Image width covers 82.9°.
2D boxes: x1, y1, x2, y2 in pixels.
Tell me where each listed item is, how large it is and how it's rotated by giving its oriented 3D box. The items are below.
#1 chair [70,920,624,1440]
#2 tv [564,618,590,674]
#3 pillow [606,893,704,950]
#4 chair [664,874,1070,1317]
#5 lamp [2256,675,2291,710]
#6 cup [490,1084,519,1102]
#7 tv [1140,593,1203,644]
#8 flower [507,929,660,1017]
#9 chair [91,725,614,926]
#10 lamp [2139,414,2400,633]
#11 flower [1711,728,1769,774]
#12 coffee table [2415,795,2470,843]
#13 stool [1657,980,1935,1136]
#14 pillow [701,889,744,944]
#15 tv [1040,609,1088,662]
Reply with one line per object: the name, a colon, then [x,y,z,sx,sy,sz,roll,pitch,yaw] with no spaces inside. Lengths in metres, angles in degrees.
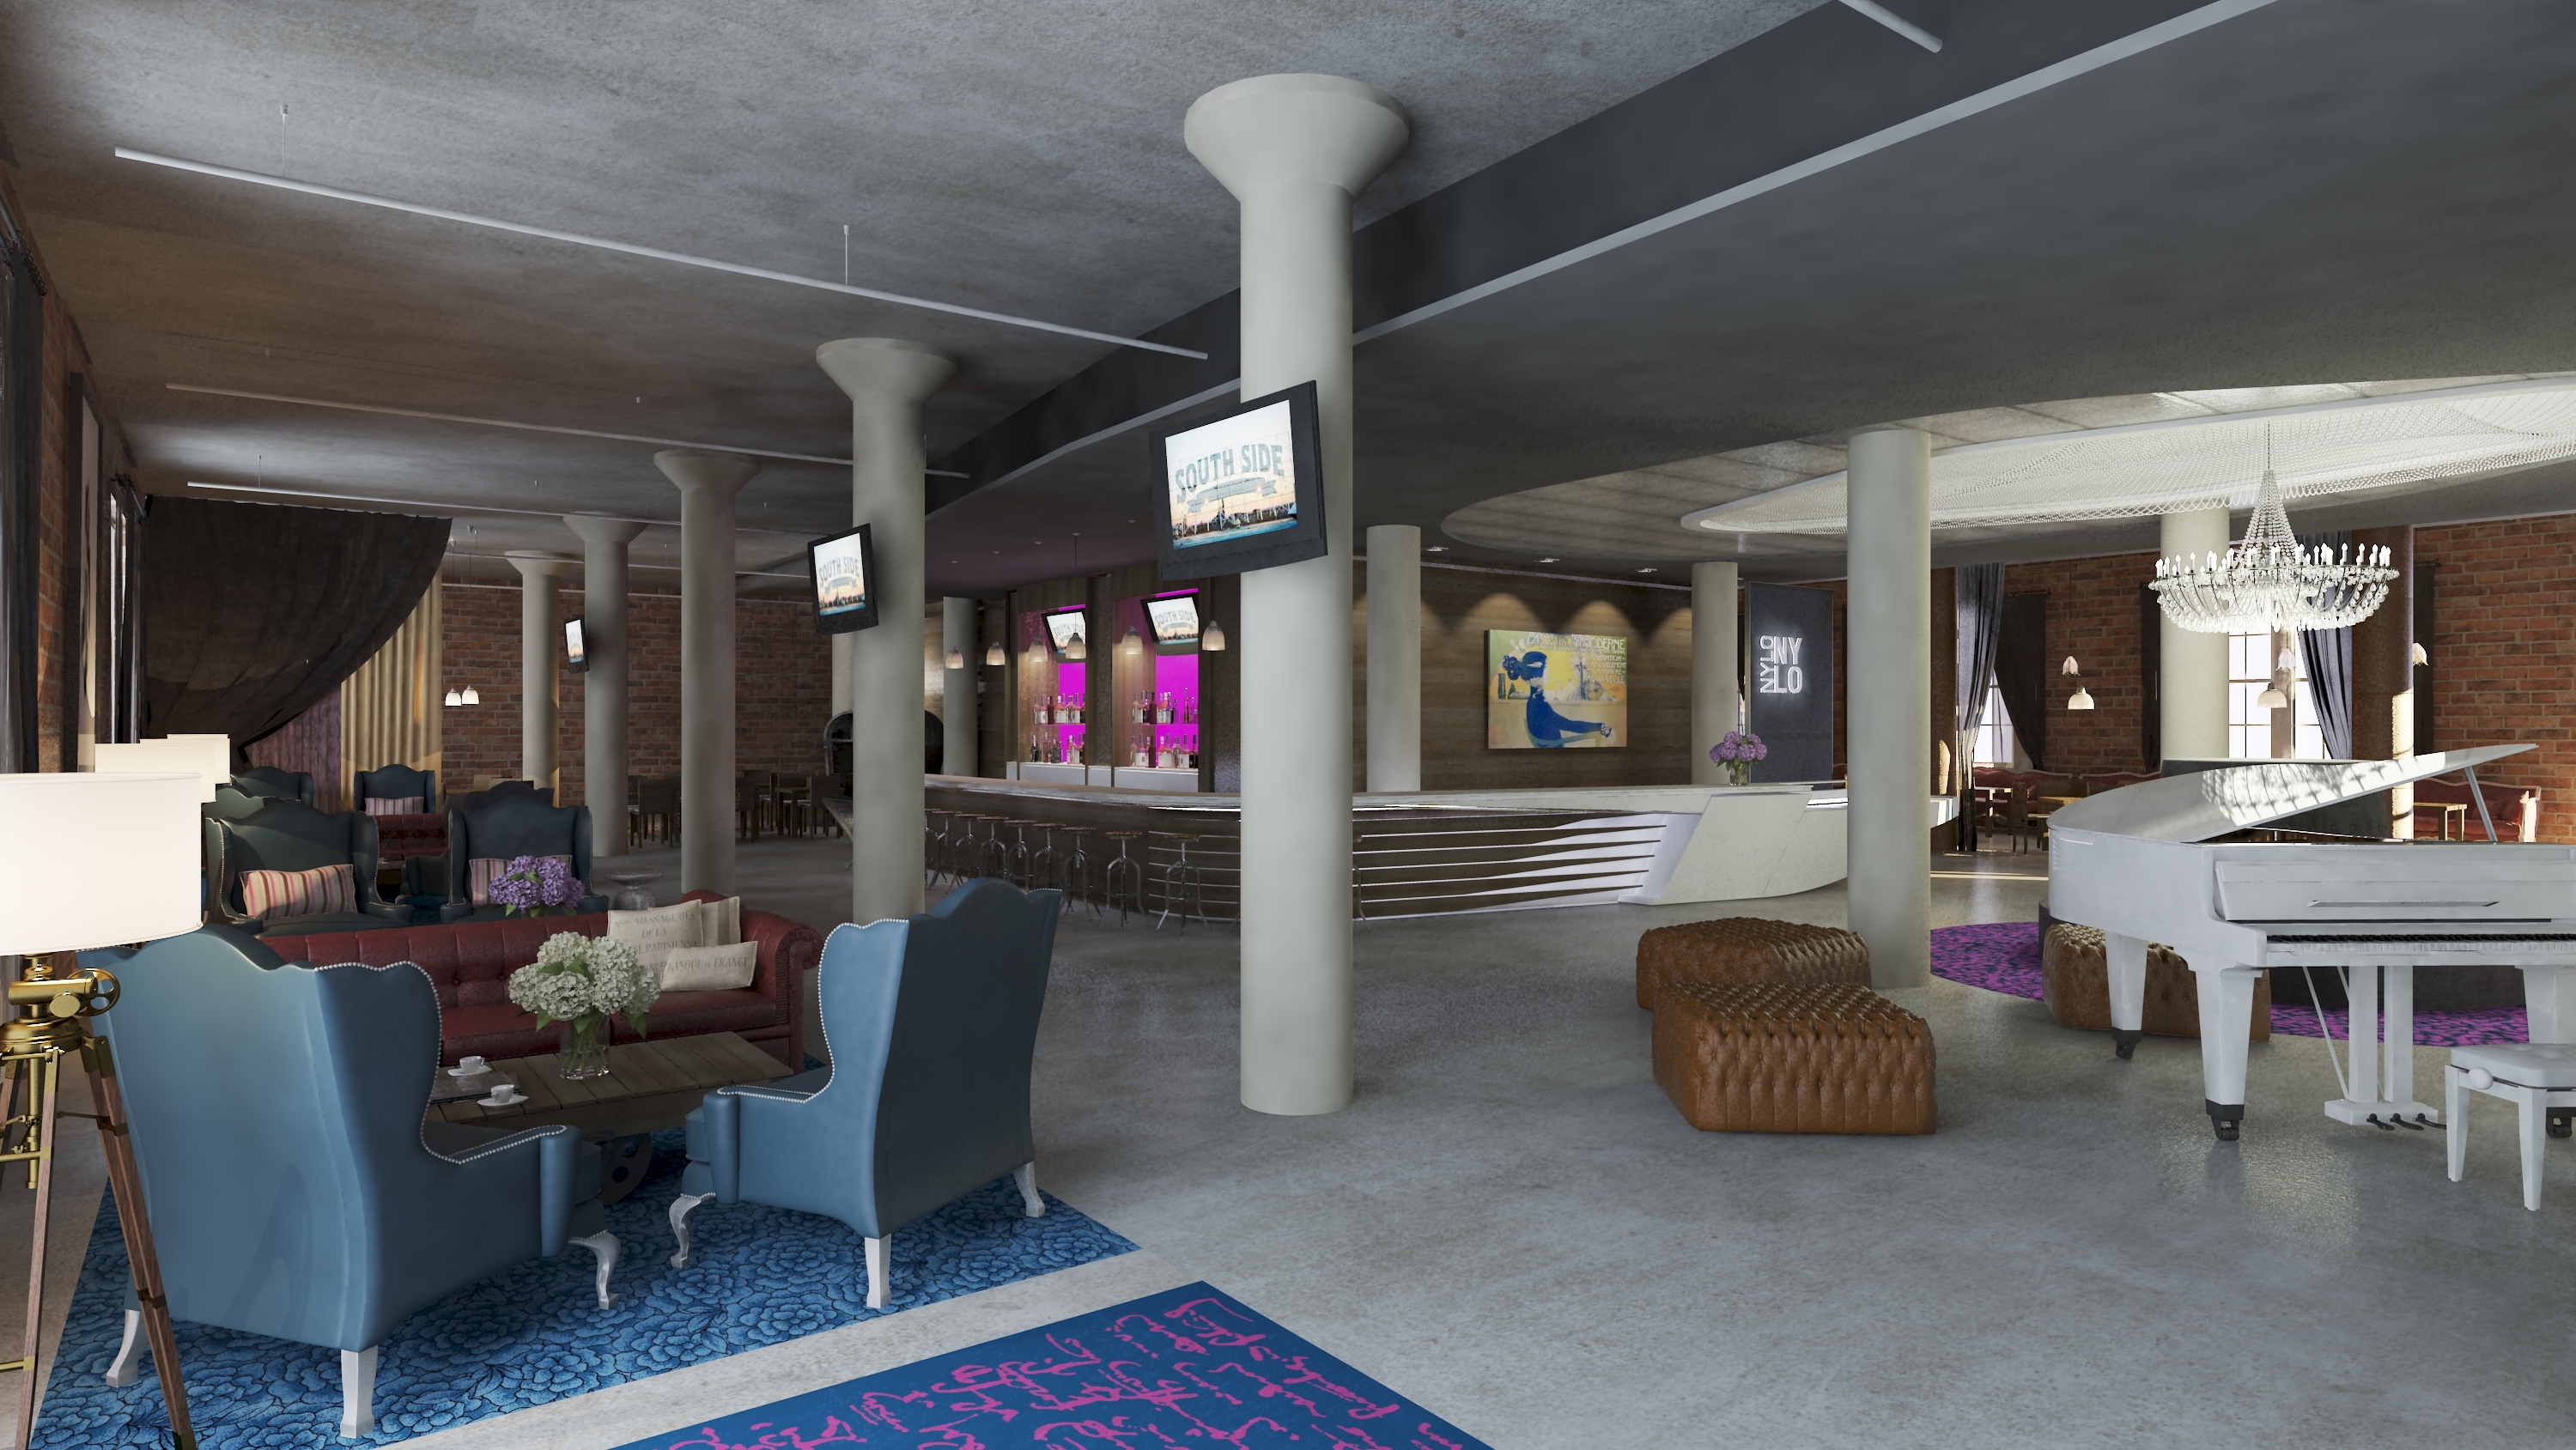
chair: [-4.979,1.958,7.758,2.236,2.621,2.280,0,1,28]
tv: [-9.106,-0.978,18.733,0.136,0.645,0.492,-3,1,-37]
pillow: [-4.155,1.302,9.566,0.391,0.350,0.123,-1,-42,-11]
chair: [-2.285,1.819,8.568,2.240,2.465,2.095,1,-1,28]
lamp: [12.244,-0.352,17.986,0.507,0.459,0.486,-3,-2,40]
cup: [-4.081,1.903,7.586,0.096,0.057,0.078,4,-6,-43]
tv: [-1.461,-1.391,20.007,0.371,0.571,0.934,-2,1,-39]
flower: [-3.851,1.368,7.982,0.629,0.415,0.537,2,0,28]
chair: [-7.917,0.864,12.462,2.092,2.208,1.799,-6,-7,38]
lamp: [9.190,-1.720,13.517,2.087,1.518,1.938,0,8,23]
flower: [5.668,0.337,18.268,0.657,0.575,0.596,-5,6,-26]
coffee table: [13.092,1.086,16.423,0.529,0.444,0.529,-5,6,-43]
stool: [3.144,2.048,9.018,1.097,0.349,1.062,-1,0,4]
pillow: [-3.830,1.306,9.850,0.343,0.342,0.131,-1,-4,-2]
tv: [-3.375,-1.304,22.454,0.770,0.679,0.351,6,11,40]
